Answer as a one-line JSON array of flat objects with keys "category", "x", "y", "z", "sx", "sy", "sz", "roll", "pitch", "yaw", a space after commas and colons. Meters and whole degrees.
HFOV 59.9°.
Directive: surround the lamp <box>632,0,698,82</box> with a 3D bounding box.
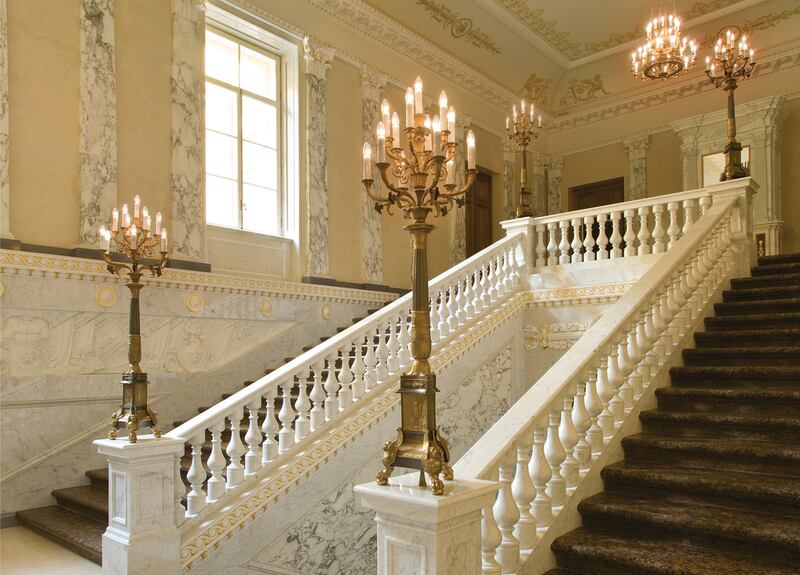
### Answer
[{"category": "lamp", "x": 3.496, "y": -3.217, "z": 9.278, "sx": 0.569, "sy": 1.006, "sz": 0.585, "roll": 5, "pitch": 18, "yaw": 22}]
